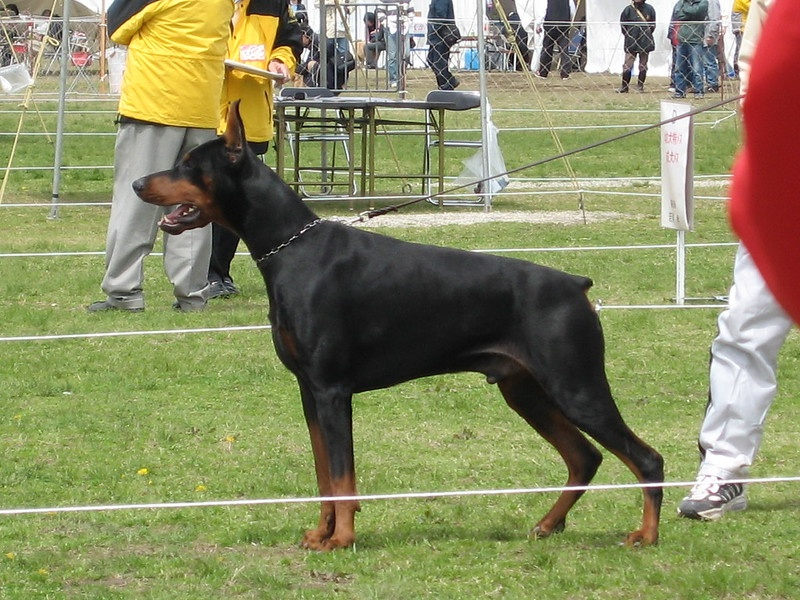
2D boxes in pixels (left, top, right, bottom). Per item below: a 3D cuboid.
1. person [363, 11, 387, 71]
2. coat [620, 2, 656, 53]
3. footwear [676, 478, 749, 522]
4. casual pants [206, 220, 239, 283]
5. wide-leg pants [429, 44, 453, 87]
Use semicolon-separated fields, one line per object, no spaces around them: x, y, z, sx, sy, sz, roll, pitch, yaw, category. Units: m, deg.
-0.318;-3.536;16.741;0.414;0.676;0.251;-4;7;6;person
4.044;-4.628;20.867;0.558;0.897;1.595;0;10;10;coat
1.457;0.899;5.706;0.178;0.188;0.472;-8;-5;40;footwear
-1.341;-0.406;9.304;0.214;0.587;0.158;5;34;-5;casual pants
0.684;-3.787;19.893;0.439;0.701;0.521;-1;11;1;wide-leg pants
